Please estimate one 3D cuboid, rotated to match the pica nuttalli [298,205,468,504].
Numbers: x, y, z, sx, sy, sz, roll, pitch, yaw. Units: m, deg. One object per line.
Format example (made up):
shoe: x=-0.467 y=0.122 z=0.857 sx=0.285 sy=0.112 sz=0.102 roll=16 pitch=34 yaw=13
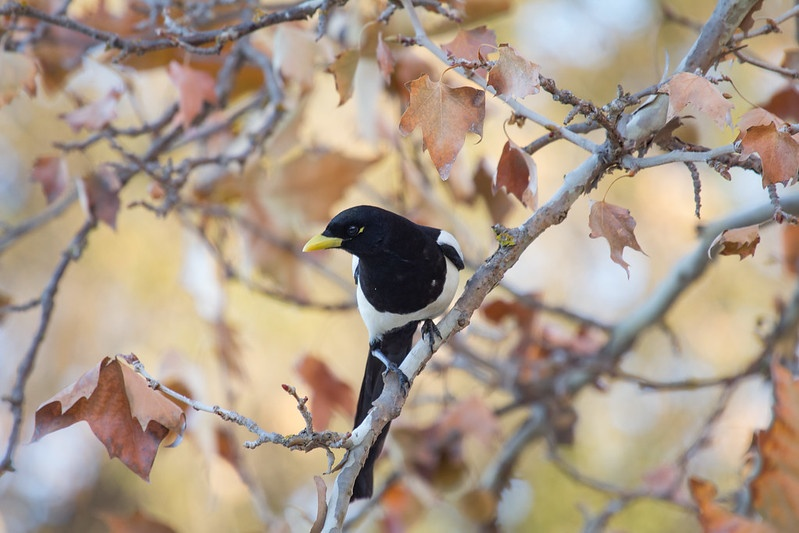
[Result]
pica nuttalli: x=-0.095 y=0.202 z=4.302 sx=0.446 sy=0.534 sz=1.400 roll=5 pitch=-61 yaw=5
